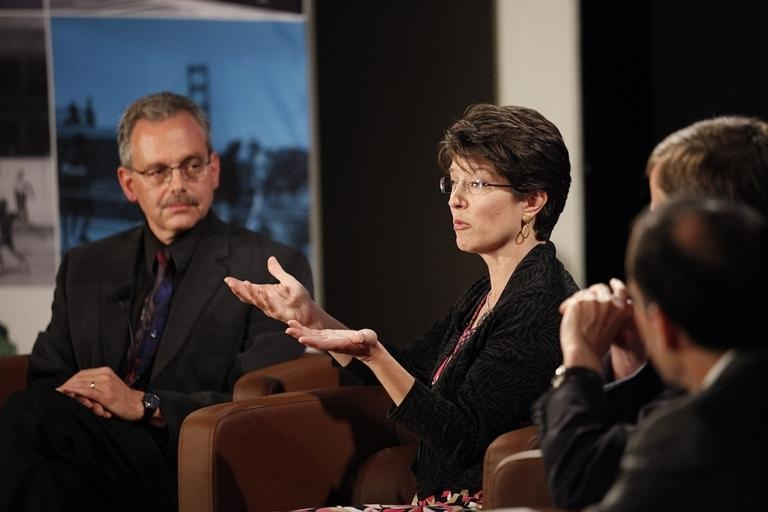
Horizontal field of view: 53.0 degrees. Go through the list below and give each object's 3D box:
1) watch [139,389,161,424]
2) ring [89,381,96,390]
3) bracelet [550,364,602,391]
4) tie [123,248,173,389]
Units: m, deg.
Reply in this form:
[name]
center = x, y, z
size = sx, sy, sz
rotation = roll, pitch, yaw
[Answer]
[watch]
center = -0.767, 0.491, 2.524
size = 0.061, 0.095, 0.084
rotation = 14, -35, -24
[ring]
center = -0.938, 0.417, 2.478
size = 0.012, 0.021, 0.020
rotation = -7, 3, -9
[bracelet]
center = 0.404, 0.256, 1.679
size = 0.053, 0.060, 0.045
rotation = 19, 0, -15
[tie]
center = -0.826, 0.251, 2.780
size = 0.083, 0.627, 0.085
rotation = 16, -20, -15
